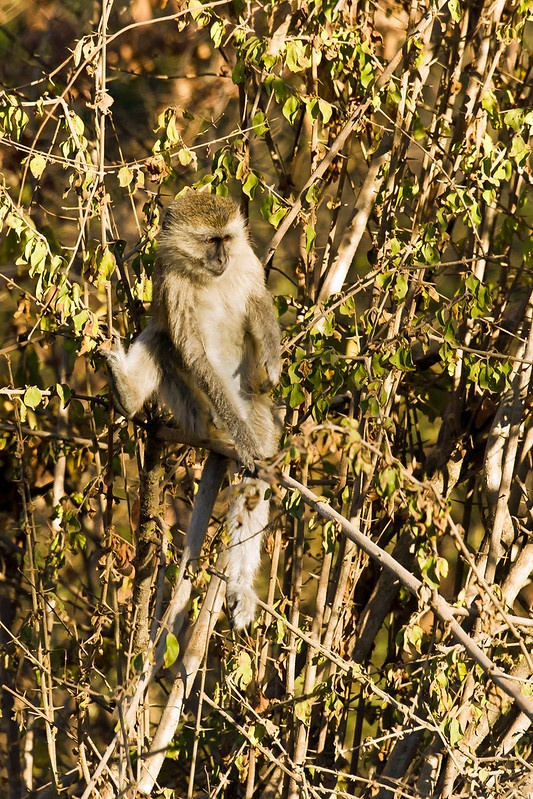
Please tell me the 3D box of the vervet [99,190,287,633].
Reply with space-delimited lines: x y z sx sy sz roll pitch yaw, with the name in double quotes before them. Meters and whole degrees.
"vervet" -0.207 -0.027 4.293 0.739 0.513 1.482 -1 45 -10
